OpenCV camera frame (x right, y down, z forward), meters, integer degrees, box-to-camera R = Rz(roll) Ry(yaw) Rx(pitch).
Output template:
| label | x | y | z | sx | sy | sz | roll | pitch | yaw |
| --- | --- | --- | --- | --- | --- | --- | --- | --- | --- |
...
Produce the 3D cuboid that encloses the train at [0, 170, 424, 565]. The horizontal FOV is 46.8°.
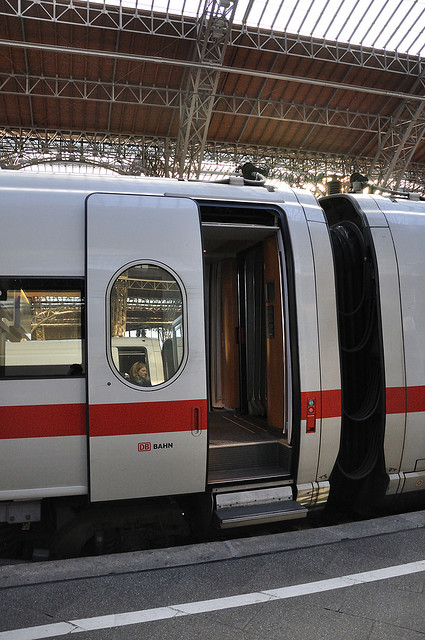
| label | x | y | z | sx | sy | sz | roll | pitch | yaw |
| --- | --- | --- | --- | --- | --- | --- | --- | --- | --- |
| train | -0.007 | 0.248 | 3.954 | 2.963 | 2.812 | 1.780 | 1 | -2 | -14 |
